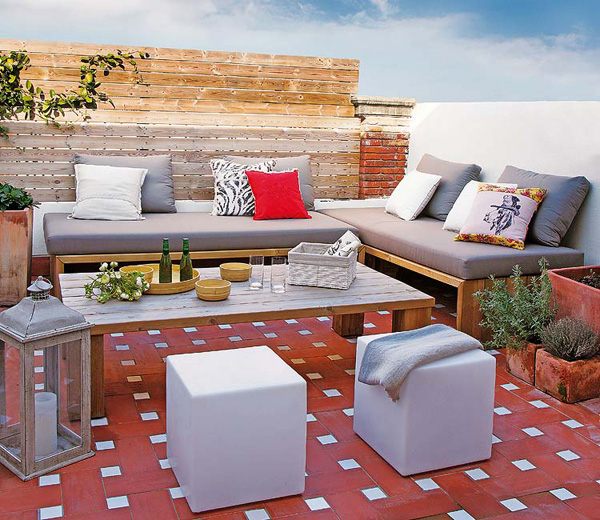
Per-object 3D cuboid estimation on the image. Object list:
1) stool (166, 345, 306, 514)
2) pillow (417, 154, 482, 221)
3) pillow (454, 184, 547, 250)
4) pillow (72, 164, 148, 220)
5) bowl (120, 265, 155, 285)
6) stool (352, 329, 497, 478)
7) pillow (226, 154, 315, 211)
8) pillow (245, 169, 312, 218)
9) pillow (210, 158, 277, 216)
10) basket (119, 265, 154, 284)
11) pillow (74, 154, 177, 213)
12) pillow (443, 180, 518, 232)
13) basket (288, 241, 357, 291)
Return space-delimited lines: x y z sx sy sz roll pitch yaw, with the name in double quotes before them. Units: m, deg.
"stool" -0.250 0.605 1.872 0.419 0.436 0.449 -4 15 -22
"pillow" 1.360 -0.648 4.535 0.482 0.570 0.809 -16 14 -21
"pillow" 1.485 -0.356 3.682 0.619 0.494 0.184 19 -13 48
"pillow" -1.645 -0.598 4.365 0.596 0.442 0.436 -1 14 -13
"bowl" -0.887 0.078 2.764 0.154 0.038 0.125 1 11 -8
"stool" 0.513 0.582 2.087 0.429 0.448 0.394 -4 16 -24
"pillow" -0.298 -0.735 4.768 0.859 0.403 0.243 -3 15 -8
"pillow" -0.206 -0.601 4.618 0.650 0.435 0.172 -6 -11 -26
"pillow" -0.512 -0.686 4.707 0.842 0.535 0.265 -2 -2 -9
"basket" -0.885 0.073 2.753 0.151 0.038 0.126 -4 14 -32
"pillow" -1.574 -0.683 4.460 0.828 0.372 0.249 -3 9 -22
"pillow" 1.557 -0.411 4.208 0.176 0.416 0.523 30 -7 -27
"basket" 0.174 0.004 2.965 0.408 0.161 0.345 4 10 18
